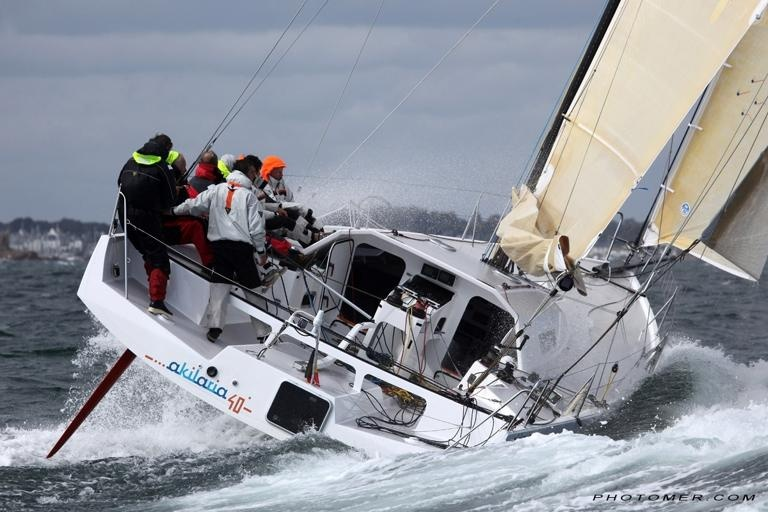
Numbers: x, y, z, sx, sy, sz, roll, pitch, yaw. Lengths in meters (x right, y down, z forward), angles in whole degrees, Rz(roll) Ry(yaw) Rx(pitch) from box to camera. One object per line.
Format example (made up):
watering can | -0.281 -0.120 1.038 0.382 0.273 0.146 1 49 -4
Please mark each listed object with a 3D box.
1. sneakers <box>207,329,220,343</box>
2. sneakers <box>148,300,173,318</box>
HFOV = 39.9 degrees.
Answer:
sneakers | -1.744 0.796 10.797 0.080 0.144 0.205 4 23 -7
sneakers | -2.252 0.540 10.742 0.330 0.202 0.107 2 5 -45
